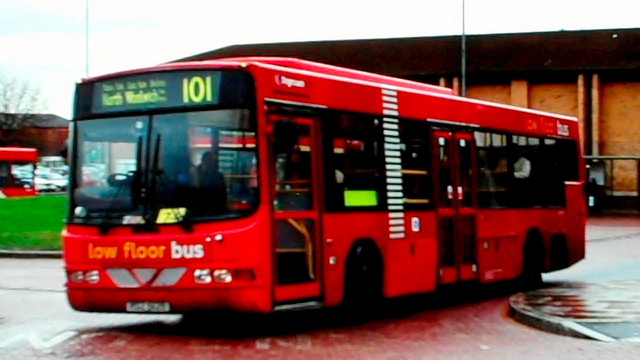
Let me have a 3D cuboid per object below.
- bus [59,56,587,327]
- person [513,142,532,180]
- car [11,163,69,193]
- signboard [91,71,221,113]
[{"bbox_3d":[2.292,0.404,15.071,4.652,4.946,16.326,-5,-6,44],"label":"bus"},{"bbox_3d":[5.086,-0.476,14.445,0.297,0.852,0.621,-9,-14,41],"label":"person"},{"bbox_3d":[-24.030,-0.108,48.716,3.129,1.236,3.629,1,-1,35],"label":"car"},{"bbox_3d":[-2.874,-1.542,10.070,3.348,0.749,0.441,3,5,31],"label":"signboard"}]
